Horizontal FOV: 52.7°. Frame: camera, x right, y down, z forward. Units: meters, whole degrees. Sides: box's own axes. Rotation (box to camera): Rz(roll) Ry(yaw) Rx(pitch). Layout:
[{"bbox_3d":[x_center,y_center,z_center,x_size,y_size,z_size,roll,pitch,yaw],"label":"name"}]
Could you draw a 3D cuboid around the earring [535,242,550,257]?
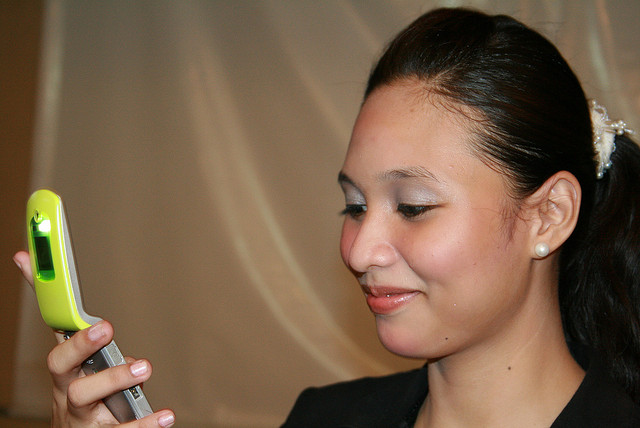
[{"bbox_3d":[0.598,0.094,1.740,0.040,0.039,0.011,-6,-10,-10],"label":"earring"}]
